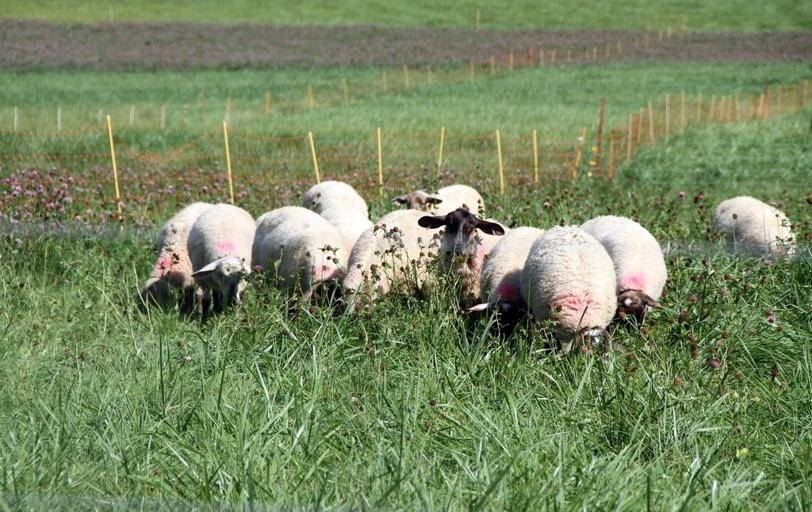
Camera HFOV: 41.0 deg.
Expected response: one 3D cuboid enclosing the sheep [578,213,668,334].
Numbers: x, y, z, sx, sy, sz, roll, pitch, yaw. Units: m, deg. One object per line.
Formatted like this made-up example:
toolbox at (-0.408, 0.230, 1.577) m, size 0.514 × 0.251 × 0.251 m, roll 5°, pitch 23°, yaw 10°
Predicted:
sheep at (3.863, 0.183, 18.999) m, size 1.244 × 1.705 × 2.677 m, roll 6°, pitch 45°, yaw 5°
